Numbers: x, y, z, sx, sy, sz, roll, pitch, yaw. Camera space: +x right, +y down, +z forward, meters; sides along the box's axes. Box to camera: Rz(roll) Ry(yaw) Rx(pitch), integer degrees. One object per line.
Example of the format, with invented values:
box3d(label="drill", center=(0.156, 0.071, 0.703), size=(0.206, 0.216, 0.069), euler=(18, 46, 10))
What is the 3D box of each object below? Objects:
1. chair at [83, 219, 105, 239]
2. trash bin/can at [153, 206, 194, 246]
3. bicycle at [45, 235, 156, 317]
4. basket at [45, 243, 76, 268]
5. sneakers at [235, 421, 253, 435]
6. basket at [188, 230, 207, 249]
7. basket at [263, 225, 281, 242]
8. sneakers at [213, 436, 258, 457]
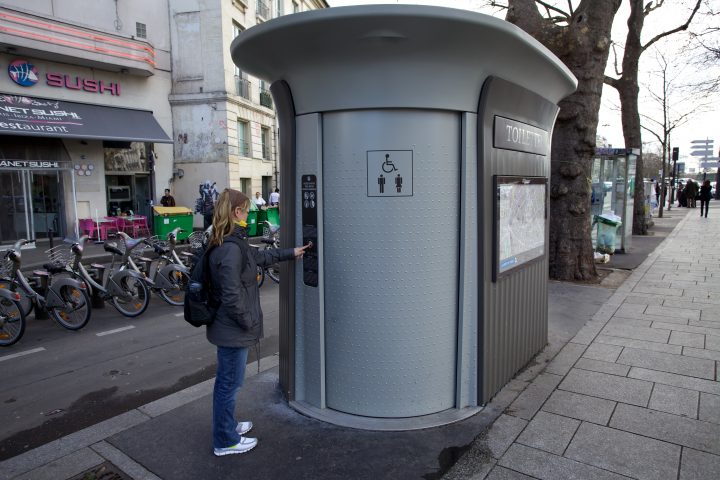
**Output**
box3d(label="chair", center=(-9.616, -0.403, 17.858), size=(0.567, 0.870, 0.576), euler=(1, 8, 3))
box3d(label="trash bin/can", center=(-7.068, -0.663, 18.593), size=(1.175, 1.208, 0.905), euler=(-9, 19, -44))
box3d(label="bicycle", center=(-5.223, 0.712, 9.768), size=(2.344, 1.483, 0.894), euler=(0, 2, 21))
box3d(label="basket", center=(-5.559, 0.253, 9.274), size=(0.371, 0.450, 0.497), euler=(-10, -11, 6))
box3d(label="sneakers", center=(-1.376, 2.237, 5.890), size=(0.210, 0.105, 0.079), euler=(-13, 19, -40))
box3d(label="basket", center=(-3.695, -0.004, 11.204), size=(0.433, 0.463, 0.525), euler=(-1, 6, 4))
box3d(label="basket", center=(-2.216, -0.148, 12.390), size=(0.407, 0.444, 0.428), euler=(8, -6, -35))
box3d(label="sneakers", center=(-1.399, 2.374, 5.649), size=(0.484, 0.252, 0.186), euler=(-5, 8, -9))
